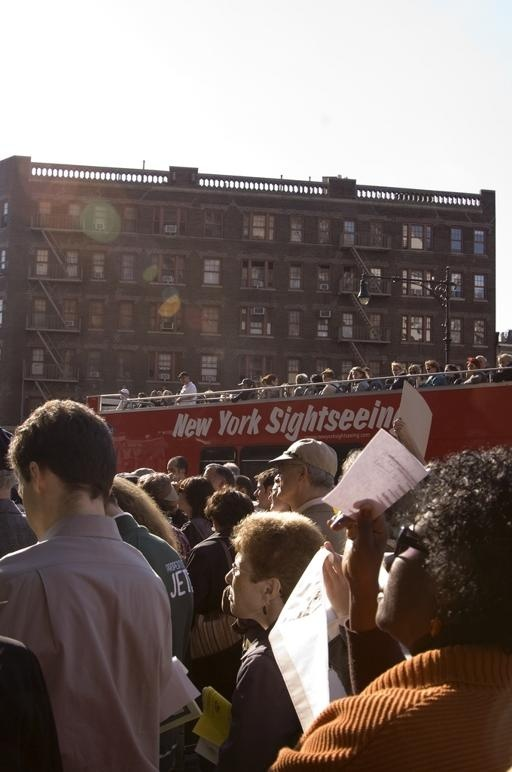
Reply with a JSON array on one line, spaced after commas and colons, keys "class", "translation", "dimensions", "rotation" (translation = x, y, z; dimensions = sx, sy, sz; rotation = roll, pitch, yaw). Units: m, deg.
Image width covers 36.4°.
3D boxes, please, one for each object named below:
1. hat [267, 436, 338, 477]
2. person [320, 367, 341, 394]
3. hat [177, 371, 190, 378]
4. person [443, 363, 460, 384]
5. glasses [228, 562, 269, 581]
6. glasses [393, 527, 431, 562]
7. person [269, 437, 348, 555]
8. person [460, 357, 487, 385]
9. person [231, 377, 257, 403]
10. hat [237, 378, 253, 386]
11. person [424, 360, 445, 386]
[{"class": "hat", "translation": [0.319, 0.442, 4.880], "dimensions": [0.330, 0.166, 0.237], "rotation": [14, -9, 5]}, {"class": "person", "translation": [1.451, -0.071, 15.390], "dimensions": [0.361, 0.557, 1.156], "rotation": [0, -4, 4]}, {"class": "hat", "translation": [-2.787, -0.457, 29.773], "dimensions": [0.380, 0.203, 0.285], "rotation": [14, 7, 29]}, {"class": "person", "translation": [3.498, -0.213, 13.869], "dimensions": [0.277, 0.464, 1.814], "rotation": [-1, -4, 14]}, {"class": "glasses", "translation": [-0.022, 0.675, 2.853], "dimensions": [0.084, 0.026, 0.087], "rotation": [14, -9, 14]}, {"class": "glasses", "translation": [0.286, 0.284, 1.434], "dimensions": [0.051, 0.034, 0.051], "rotation": [30, -15, 12]}, {"class": "person", "translation": [0.319, 0.731, 4.840], "dimensions": [0.519, 0.834, 0.414], "rotation": [3, -18, 16]}, {"class": "person", "translation": [3.856, -0.285, 13.652], "dimensions": [0.393, 0.604, 1.717], "rotation": [-1, -4, 15]}, {"class": "person", "translation": [-0.284, 0.095, 17.366], "dimensions": [0.502, 0.578, 1.701], "rotation": [0, -4, -2]}, {"class": "hat", "translation": [-0.398, -0.132, 25.389], "dimensions": [0.452, 0.263, 0.332], "rotation": [9, 5, 36]}, {"class": "person", "translation": [3.184, -0.217, 13.866], "dimensions": [0.364, 0.515, 0.952], "rotation": [-1, -4, 11]}]
